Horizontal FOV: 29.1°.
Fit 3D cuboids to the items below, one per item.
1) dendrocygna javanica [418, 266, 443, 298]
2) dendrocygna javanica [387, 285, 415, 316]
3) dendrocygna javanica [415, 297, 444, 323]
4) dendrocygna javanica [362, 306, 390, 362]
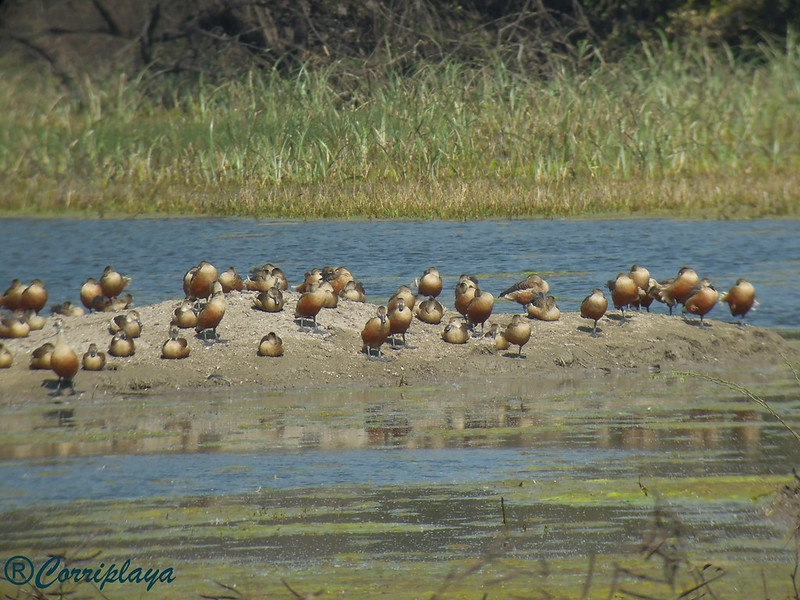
[{"bbox_3d":[0.398,-0.250,21.201,0.313,0.387,0.439,4,-14,-2],"label":"dendrocygna javanica"},{"bbox_3d":[0.058,-0.010,20.321,0.284,0.272,0.403,0,19,-8],"label":"dendrocygna javanica"},{"bbox_3d":[0.445,0.140,20.763,0.296,0.275,0.403,1,14,2],"label":"dendrocygna javanica"},{"bbox_3d":[-0.267,0.377,19.681,0.363,0.712,0.375,-1,28,-2],"label":"dendrocygna javanica"}]
